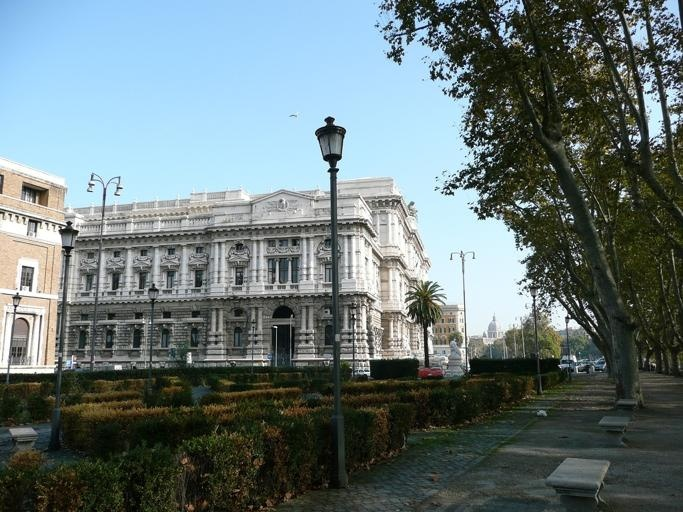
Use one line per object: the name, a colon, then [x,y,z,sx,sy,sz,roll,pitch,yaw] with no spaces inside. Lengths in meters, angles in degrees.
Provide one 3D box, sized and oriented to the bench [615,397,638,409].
bench: [12.281,6.386,26.976,0.673,0.265,1.081,-4,-11,20]
